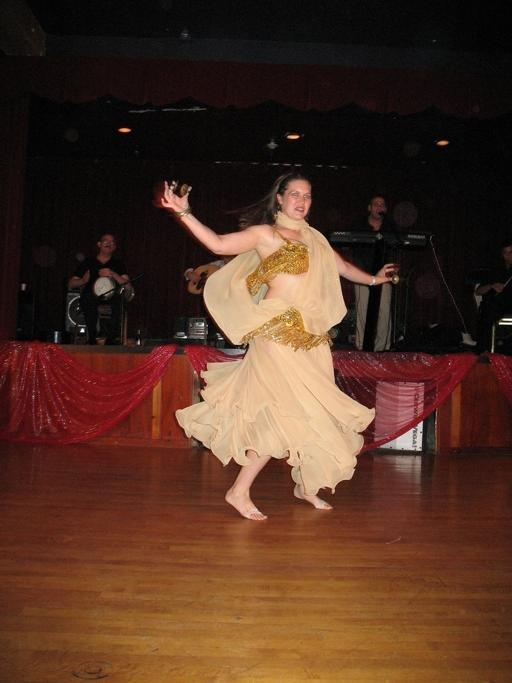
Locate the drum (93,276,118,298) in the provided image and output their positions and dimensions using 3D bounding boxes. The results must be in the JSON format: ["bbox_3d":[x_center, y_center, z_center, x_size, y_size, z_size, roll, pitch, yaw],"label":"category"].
[{"bbox_3d":[-1.400,-0.493,5.698,0.227,0.157,0.184,-13,11,-30],"label":"drum"}]

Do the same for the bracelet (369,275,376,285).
[{"bbox_3d":[0.545,-0.286,2.896,0.021,0.042,0.037,-5,-39,2],"label":"bracelet"}]

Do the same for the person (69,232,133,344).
[{"bbox_3d":[-1.499,-0.537,5.970,0.575,0.977,1.259,2,-1,-17],"label":"person"}]

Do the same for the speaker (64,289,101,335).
[{"bbox_3d":[-1.698,-0.267,5.922,0.358,0.389,0.134,-1,-13,4],"label":"speaker"}]

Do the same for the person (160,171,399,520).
[{"bbox_3d":[0.079,0.001,2.560,0.819,1.147,0.637,2,-1,4],"label":"person"}]
